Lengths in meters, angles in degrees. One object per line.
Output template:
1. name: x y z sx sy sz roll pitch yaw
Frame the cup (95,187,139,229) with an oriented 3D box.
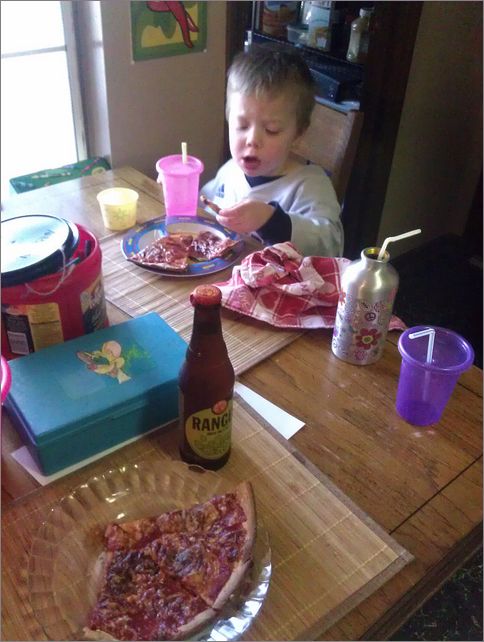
1. cup: -0.312 -0.274 1.324 0.099 0.070 0.103 0 23 0

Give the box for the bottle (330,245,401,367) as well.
1. bottle: 0.212 -0.024 0.898 0.093 0.190 0.088 1 30 -1

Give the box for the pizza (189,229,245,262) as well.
1. pizza: -0.071 -0.193 1.228 0.086 0.028 0.086 26 41 30

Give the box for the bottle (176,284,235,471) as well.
1. bottle: -0.038 0.075 0.628 0.074 0.269 0.064 -4 35 -11
